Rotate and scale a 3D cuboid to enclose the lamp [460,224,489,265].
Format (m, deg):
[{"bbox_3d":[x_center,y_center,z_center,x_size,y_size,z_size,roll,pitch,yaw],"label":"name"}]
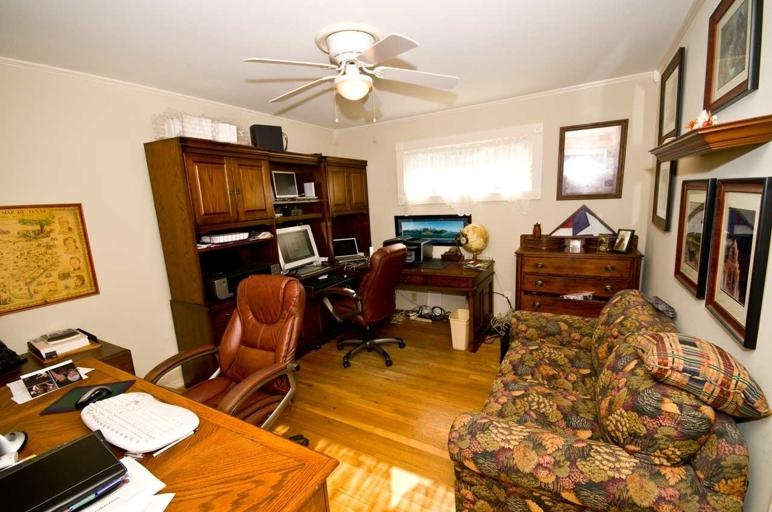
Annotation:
[{"bbox_3d":[1.003,-0.137,5.313,0.324,0.405,0.292,-1,14,9],"label":"lamp"}]

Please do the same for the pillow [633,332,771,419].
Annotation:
[{"bbox_3d":[1.703,0.582,2.612,0.555,0.153,0.468,17,12,-18],"label":"pillow"}]

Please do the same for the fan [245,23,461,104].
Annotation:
[{"bbox_3d":[-0.203,-1.387,3.385,0.855,0.208,0.795,1,3,21],"label":"fan"}]

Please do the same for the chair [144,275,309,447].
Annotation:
[{"bbox_3d":[-0.859,0.671,3.638,0.987,1.260,1.230,2,-7,30],"label":"chair"}]

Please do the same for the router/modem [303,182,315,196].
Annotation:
[{"bbox_3d":[-0.859,-0.741,5.314,0.126,0.167,0.154,-5,12,0],"label":"router/modem"}]

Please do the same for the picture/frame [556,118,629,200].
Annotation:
[{"bbox_3d":[2.096,-0.991,4.717,0.854,0.998,0.078,6,18,26],"label":"picture/frame"}]

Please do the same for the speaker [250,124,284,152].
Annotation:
[{"bbox_3d":[-1.169,-1.142,4.597,0.121,0.299,0.376,-2,3,39],"label":"speaker"}]

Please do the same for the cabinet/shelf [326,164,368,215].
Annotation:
[{"bbox_3d":[-0.495,-0.806,5.678,0.182,0.635,0.775,2,9,33],"label":"cabinet/shelf"}]

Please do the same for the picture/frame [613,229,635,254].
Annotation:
[{"bbox_3d":[2.304,-0.149,4.551,0.179,0.193,0.344,1,12,28],"label":"picture/frame"}]

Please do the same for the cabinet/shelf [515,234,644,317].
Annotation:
[{"bbox_3d":[1.849,0.212,4.454,0.856,0.739,0.351,2,6,24],"label":"cabinet/shelf"}]

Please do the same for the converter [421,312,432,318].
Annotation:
[{"bbox_3d":[0.509,0.751,5.886,0.090,0.028,0.059,-6,41,18],"label":"converter"}]

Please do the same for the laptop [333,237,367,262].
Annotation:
[{"bbox_3d":[-0.441,-0.059,5.633,0.306,0.198,0.361,8,10,43],"label":"laptop"}]

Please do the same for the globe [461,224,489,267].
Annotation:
[{"bbox_3d":[0.997,-0.132,5.350,0.363,0.449,0.325,-12,22,-8],"label":"globe"}]

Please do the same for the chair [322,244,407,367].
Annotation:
[{"bbox_3d":[-0.205,0.491,4.952,0.887,1.087,0.874,-2,5,1],"label":"chair"}]

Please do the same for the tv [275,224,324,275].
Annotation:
[{"bbox_3d":[-1.001,-0.108,5.214,0.423,0.359,0.580,-2,8,30],"label":"tv"}]

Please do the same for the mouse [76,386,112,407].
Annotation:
[{"bbox_3d":[-1.749,0.849,2.825,0.090,0.042,0.143,8,15,22],"label":"mouse"}]

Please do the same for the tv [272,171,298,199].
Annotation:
[{"bbox_3d":[-1.095,-0.757,5.060,0.114,0.250,0.381,-5,6,24],"label":"tv"}]
